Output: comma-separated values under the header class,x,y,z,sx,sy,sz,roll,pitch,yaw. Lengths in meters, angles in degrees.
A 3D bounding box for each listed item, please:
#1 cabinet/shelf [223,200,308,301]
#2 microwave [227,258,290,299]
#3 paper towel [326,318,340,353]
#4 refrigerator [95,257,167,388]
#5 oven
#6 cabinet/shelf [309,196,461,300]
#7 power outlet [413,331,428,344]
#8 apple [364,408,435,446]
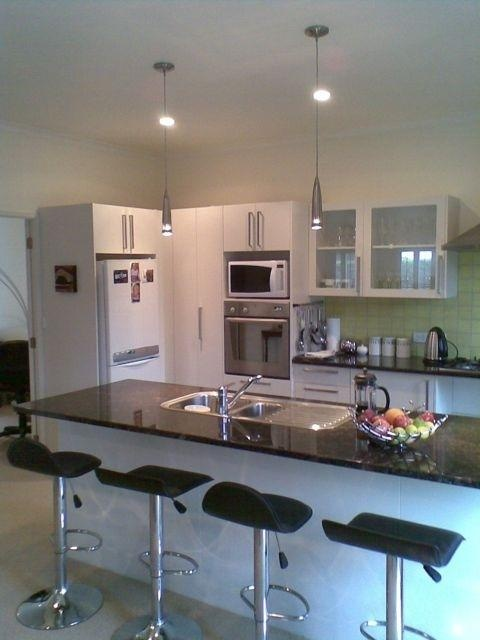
class,x,y,z,sx,sy,sz,roll,pitch,yaw
cabinet/shelf,0.205,-0.531,4.395,0.689,0.792,0.324,-2,6,7
microwave,0.142,-0.309,4.379,0.472,0.323,0.299,1,0,32
paper towel,0.784,0.128,4.612,0.120,0.264,0.097,-1,6,8
refrigerator,-0.878,0.052,4.537,0.220,1.073,0.758,0,6,23
oven,0.160,0.117,4.632,0.544,0.652,0.430,2,11,9
cabinet/shelf,1.104,-0.528,4.031,0.762,0.519,0.261,2,3,33
power outlet,1.419,0.140,4.312,0.089,0.081,0.029,1,-2,39
apple,0.577,0.398,2.012,0.291,0.128,0.197,-2,6,2
